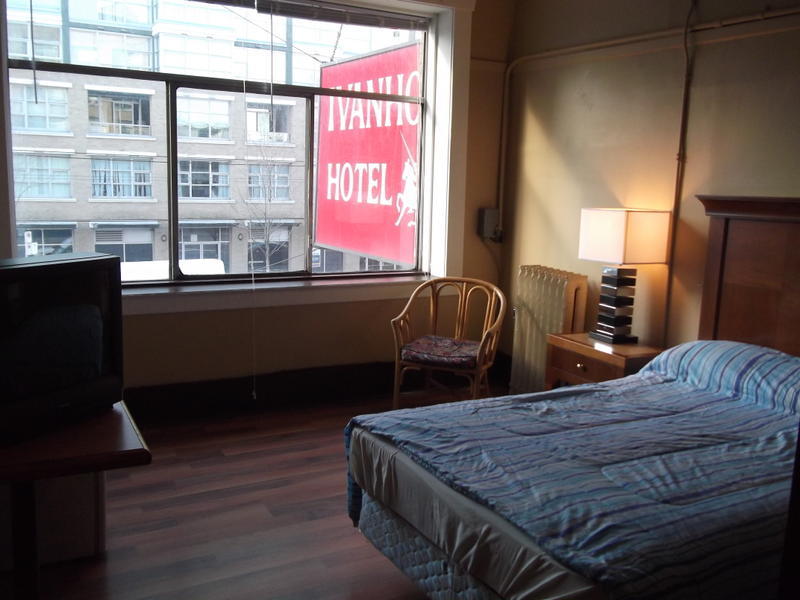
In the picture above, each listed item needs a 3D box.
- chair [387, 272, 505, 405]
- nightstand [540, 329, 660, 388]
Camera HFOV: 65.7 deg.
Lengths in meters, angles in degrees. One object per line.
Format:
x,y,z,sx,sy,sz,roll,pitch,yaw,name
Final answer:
0.356,0.364,4.251,0.736,0.956,0.782,-7,12,-42,chair
1.289,0.283,3.948,0.380,0.514,0.526,-3,10,-23,nightstand
